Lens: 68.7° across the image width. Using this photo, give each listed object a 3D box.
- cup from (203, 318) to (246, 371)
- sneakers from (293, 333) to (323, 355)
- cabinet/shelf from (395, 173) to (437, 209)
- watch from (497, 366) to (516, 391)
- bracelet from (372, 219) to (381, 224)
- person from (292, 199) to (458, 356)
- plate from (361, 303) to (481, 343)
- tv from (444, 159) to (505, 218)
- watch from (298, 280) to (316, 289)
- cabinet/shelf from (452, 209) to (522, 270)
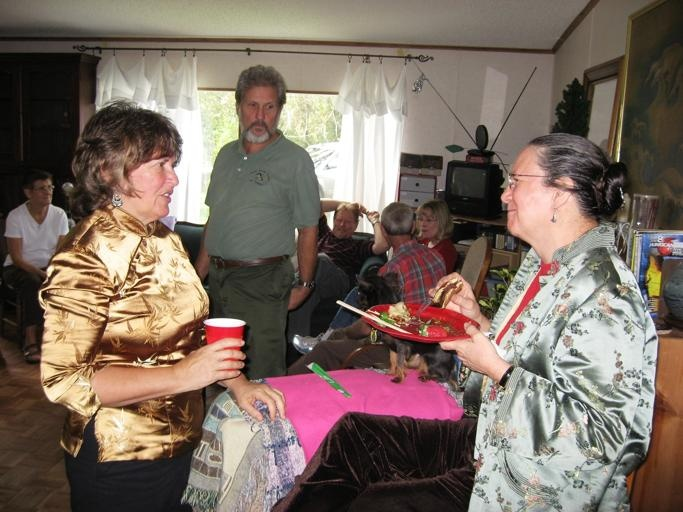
[{"bbox_3d":[-0.324,0.236,1.419,0.087,0.066,0.083,1,6,0],"label":"cup"},{"bbox_3d":[-0.189,0.576,3.321,0.273,0.122,0.102,11,2,-4],"label":"sneakers"},{"bbox_3d":[0.868,-0.740,5.750,0.406,0.410,0.228,3,24,3],"label":"cabinet/shelf"},{"bbox_3d":[0.481,0.355,1.454,0.019,0.055,0.049,26,17,23],"label":"watch"},{"bbox_3d":[0.327,-0.313,4.613,0.071,0.044,0.057,3,2,4],"label":"bracelet"},{"bbox_3d":[0.223,0.215,3.164,1.079,0.858,0.549,-13,-13,43],"label":"person"},{"bbox_3d":[0.326,0.258,1.968,0.256,0.043,0.208,9,18,3],"label":"plate"},{"bbox_3d":[1.391,-0.667,5.209,0.525,0.615,0.597,4,5,41],"label":"tv"},{"bbox_3d":[-0.195,0.164,2.849,0.068,0.050,0.075,-23,-16,32],"label":"watch"},{"bbox_3d":[1.216,-0.125,4.168,0.436,0.398,0.190,22,29,32],"label":"cabinet/shelf"}]
